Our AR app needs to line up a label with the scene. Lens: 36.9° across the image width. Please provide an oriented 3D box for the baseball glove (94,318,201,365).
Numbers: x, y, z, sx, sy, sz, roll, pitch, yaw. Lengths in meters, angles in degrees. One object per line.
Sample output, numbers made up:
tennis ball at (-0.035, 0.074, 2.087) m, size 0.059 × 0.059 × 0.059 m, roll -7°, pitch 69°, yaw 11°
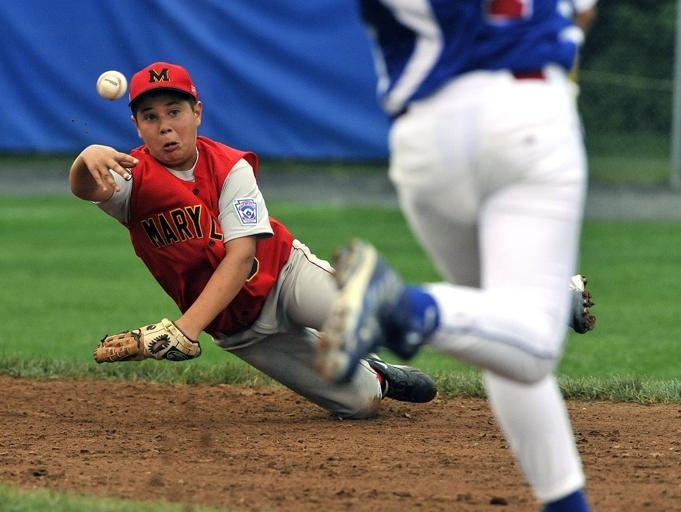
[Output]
baseball glove at (-0.773, 0.340, 4.139) m, size 0.343 × 0.127 × 0.198 m, roll 1°, pitch 1°, yaw -17°

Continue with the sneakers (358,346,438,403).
sneakers at (0.206, 0.558, 4.858) m, size 0.480 × 0.152 × 0.188 m, roll 12°, pitch 14°, yaw 7°

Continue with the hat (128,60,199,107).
hat at (-0.771, -0.748, 4.475) m, size 0.292 × 0.184 × 0.203 m, roll -2°, pitch 11°, yaw -11°

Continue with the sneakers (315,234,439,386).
sneakers at (0.055, 0.156, 3.166) m, size 0.271 × 0.202 × 0.574 m, roll -43°, pitch 19°, yaw -3°
